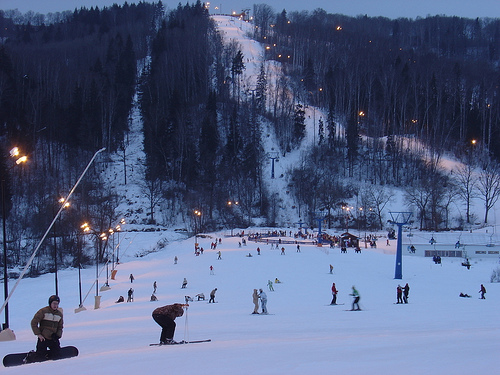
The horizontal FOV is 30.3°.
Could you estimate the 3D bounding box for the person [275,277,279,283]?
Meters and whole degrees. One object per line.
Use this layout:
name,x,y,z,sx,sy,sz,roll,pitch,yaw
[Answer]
person,4.164,15.019,147.410,0.602,0.704,1.225,-1,-5,-3
